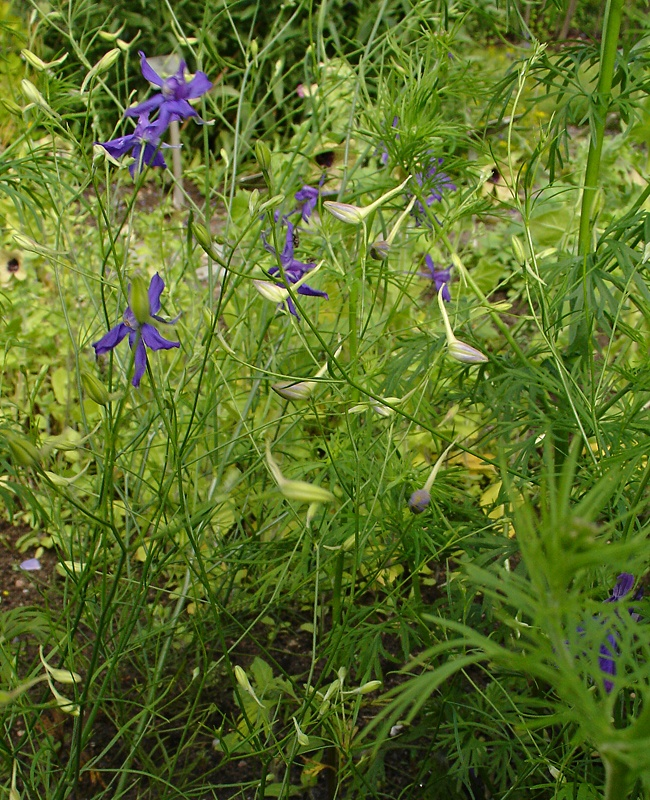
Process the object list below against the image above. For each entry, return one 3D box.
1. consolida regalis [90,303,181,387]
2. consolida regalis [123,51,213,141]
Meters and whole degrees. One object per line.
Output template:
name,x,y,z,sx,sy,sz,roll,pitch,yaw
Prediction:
consolida regalis,-0.269,-0.097,1.165,0.122,0.127,0.041,11,63,-48
consolida regalis,-0.248,-0.498,1.254,0.139,0.054,0.099,10,42,-9
